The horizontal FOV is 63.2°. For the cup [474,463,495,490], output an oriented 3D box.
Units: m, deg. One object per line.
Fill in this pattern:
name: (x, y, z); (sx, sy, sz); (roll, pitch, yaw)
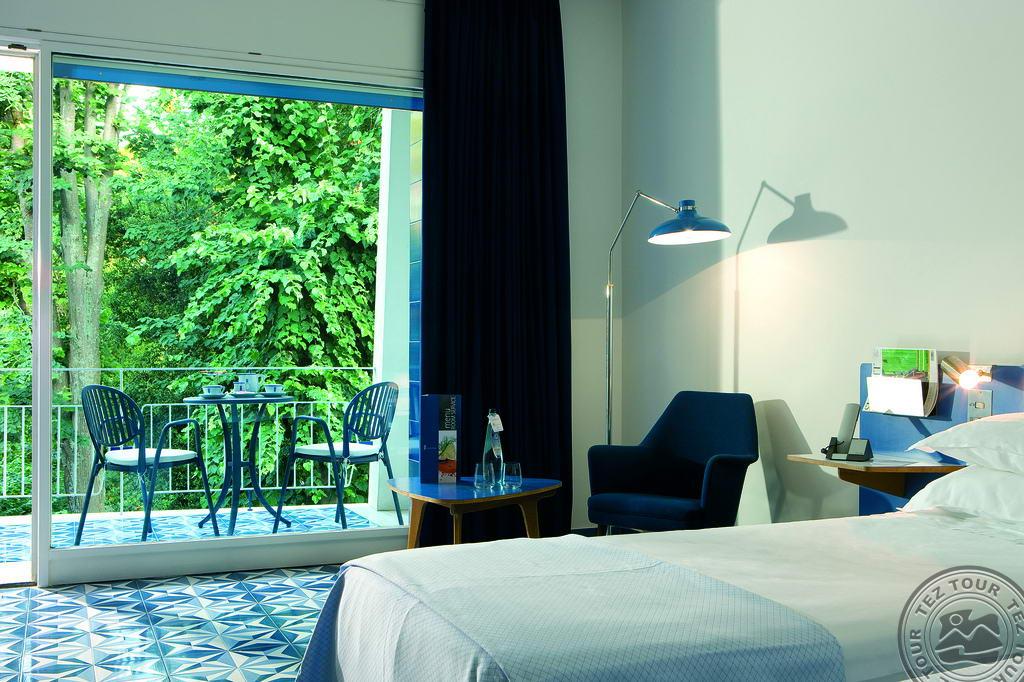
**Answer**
cup: (-0.141, 0.722, 4.385); (0.117, 0.124, 0.115); (-1, -2, 0)

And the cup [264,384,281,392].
cup: (-1.618, 0.328, 5.629); (0.073, 0.036, 0.067); (-2, -6, 0)

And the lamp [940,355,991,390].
lamp: (1.980, 0.140, 3.639); (0.167, 0.108, 0.161); (23, 7, -27)

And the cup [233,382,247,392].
cup: (-1.830, 0.311, 5.571); (0.071, 0.065, 0.088); (-5, 14, -18)

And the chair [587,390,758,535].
chair: (0.920, 0.672, 4.654); (0.889, 1.046, 0.815); (-6, -9, 41)

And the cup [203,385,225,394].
cup: (-2.010, 0.336, 5.584); (0.129, 0.073, 0.152); (-2, -8, 5)

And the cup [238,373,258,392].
cup: (-1.806, 0.287, 5.650); (0.106, 0.095, 0.135); (1, -5, -9)

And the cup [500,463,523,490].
cup: (-0.010, 0.725, 4.376); (0.118, 0.114, 0.118); (0, -4, 0)
